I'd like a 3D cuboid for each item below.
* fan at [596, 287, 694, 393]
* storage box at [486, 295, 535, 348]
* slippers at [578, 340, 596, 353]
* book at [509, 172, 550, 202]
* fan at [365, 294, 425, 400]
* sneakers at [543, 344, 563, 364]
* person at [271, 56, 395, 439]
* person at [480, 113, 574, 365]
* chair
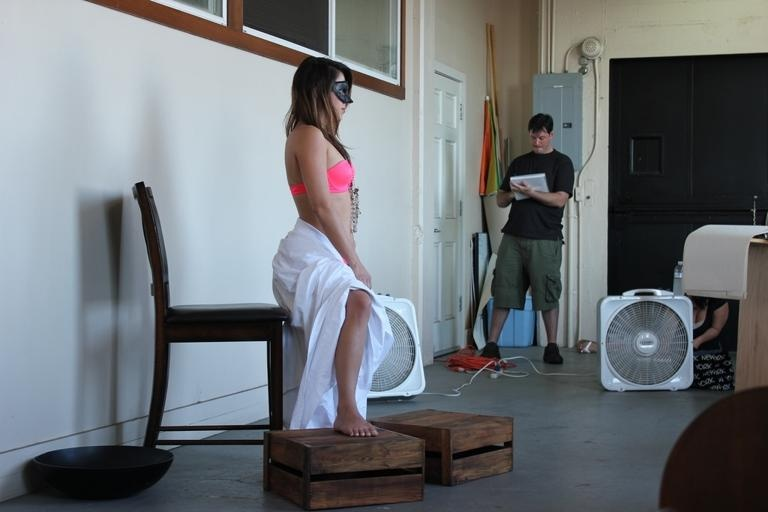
[{"bbox_3d":[1.918,0.643,4.592,0.818,0.952,0.357,0,0,3],"label":"fan"},{"bbox_3d":[1.359,0.737,6.827,0.459,0.590,0.605,0,-7,10],"label":"storage box"},{"bbox_3d":[2.049,0.917,6.327,0.169,0.111,0.267,0,2,13],"label":"slippers"},{"bbox_3d":[1.308,-0.620,5.660,0.332,0.235,0.280,0,2,13],"label":"book"},{"bbox_3d":[0.068,0.608,4.354,0.614,0.655,0.145,-4,-1,-24],"label":"fan"},{"bbox_3d":[1.530,0.884,5.674,0.173,0.176,0.193,0,2,14],"label":"sneakers"},{"bbox_3d":[-0.257,-0.085,3.060,0.690,1.812,0.450,1,2,35],"label":"person"},{"bbox_3d":[1.325,-0.153,5.728,0.786,2.241,0.500,0,2,3],"label":"person"},{"bbox_3d":[-0.907,0.316,3.335,0.815,1.368,0.740,2,-5,-13],"label":"chair"}]
